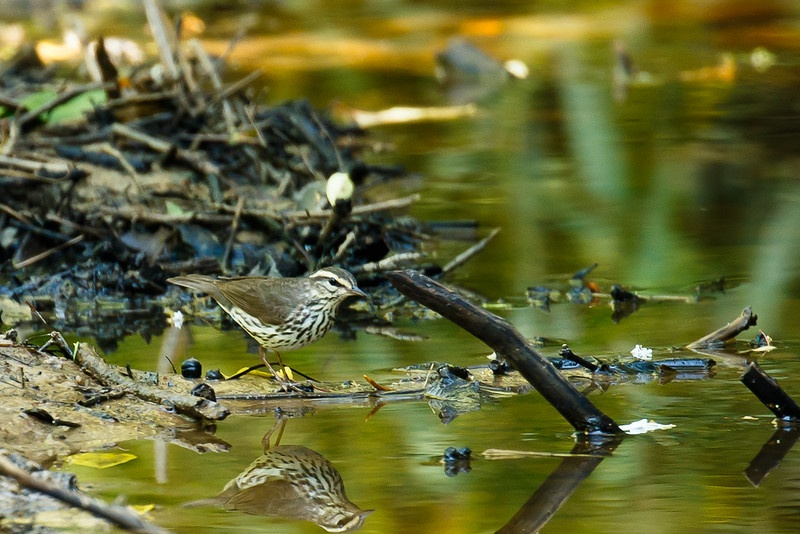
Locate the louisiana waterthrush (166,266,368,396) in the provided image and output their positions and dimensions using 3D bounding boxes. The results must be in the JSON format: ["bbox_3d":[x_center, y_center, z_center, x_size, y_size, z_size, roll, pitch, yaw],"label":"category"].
[{"bbox_3d":[-0.782,0.287,6.787,0.847,0.504,0.928,-25,30,-20],"label":"louisiana waterthrush"}]
